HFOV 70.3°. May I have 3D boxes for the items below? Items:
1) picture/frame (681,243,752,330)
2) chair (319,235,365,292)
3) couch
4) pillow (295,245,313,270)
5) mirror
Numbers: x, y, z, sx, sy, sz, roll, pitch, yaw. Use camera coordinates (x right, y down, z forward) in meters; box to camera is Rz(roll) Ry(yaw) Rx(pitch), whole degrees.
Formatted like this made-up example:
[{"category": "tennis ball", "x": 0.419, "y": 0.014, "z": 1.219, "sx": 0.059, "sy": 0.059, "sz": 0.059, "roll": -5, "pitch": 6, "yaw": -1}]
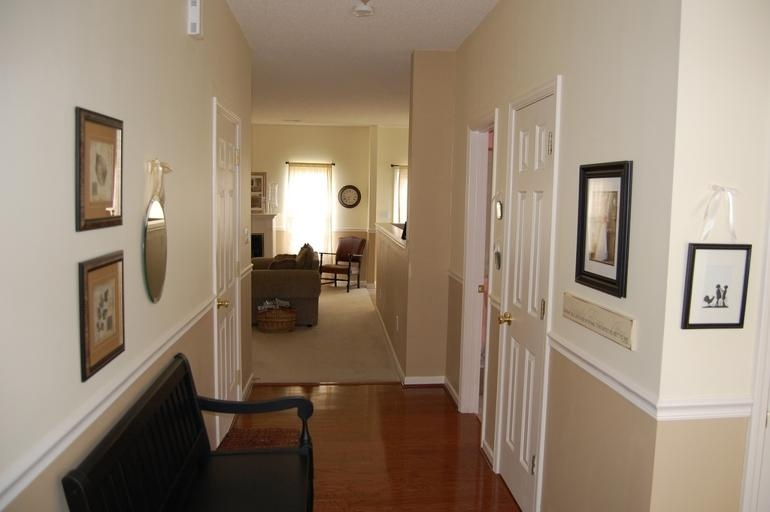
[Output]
[{"category": "picture/frame", "x": 1.386, "y": 0.115, "z": 2.288, "sx": 0.336, "sy": 0.432, "sz": 0.029, "roll": -1, "pitch": 5, "yaw": -13}, {"category": "chair", "x": -0.810, "y": 0.139, "z": 10.044, "sx": 0.781, "sy": 0.999, "sz": 0.750, "roll": 4, "pitch": 3, "yaw": 12}, {"category": "couch", "x": -1.488, "y": 0.358, "z": 7.812, "sx": 0.913, "sy": 0.984, "sz": 1.315, "roll": 0, "pitch": 7, "yaw": -14}, {"category": "pillow", "x": -1.184, "y": 0.018, "z": 7.893, "sx": 0.105, "sy": 0.195, "sz": 0.328, "roll": 13, "pitch": 21, "yaw": -14}, {"category": "mirror", "x": -1.133, "y": -0.113, "z": 2.694, "sx": 0.072, "sy": 0.711, "sz": 0.290, "roll": 1, "pitch": 8, "yaw": -7}]
